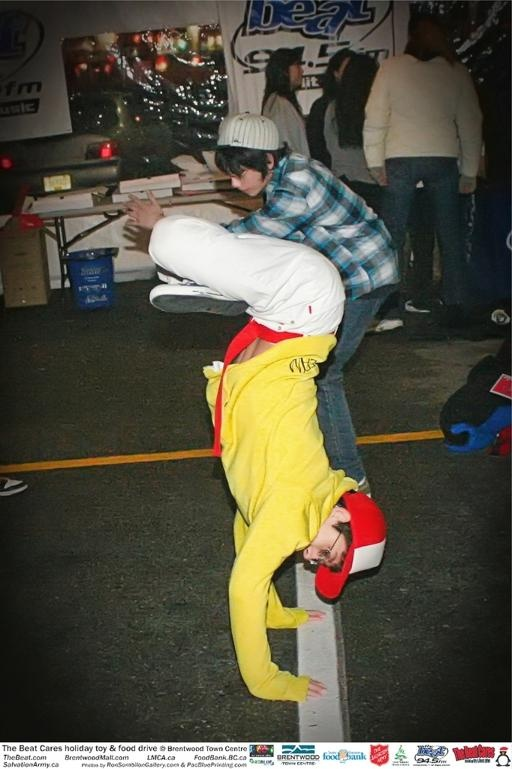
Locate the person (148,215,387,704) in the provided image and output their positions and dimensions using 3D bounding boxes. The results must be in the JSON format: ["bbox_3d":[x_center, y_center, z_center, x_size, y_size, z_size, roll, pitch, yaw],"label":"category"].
[{"bbox_3d":[0.059,0.266,1.835,0.545,1.487,0.580,-8,20,-8],"label":"person"}]

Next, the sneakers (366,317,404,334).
[{"bbox_3d":[1.083,-0.508,5.400,0.389,0.112,0.176,-6,2,-6],"label":"sneakers"}]

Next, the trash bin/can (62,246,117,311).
[{"bbox_3d":[-1.678,-1.077,6.350,0.625,0.569,0.601,-2,14,-1],"label":"trash bin/can"}]

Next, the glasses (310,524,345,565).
[{"bbox_3d":[0.210,0.459,1.730,0.125,0.057,0.096,-47,1,-24],"label":"glasses"}]

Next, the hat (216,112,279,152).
[{"bbox_3d":[-0.027,-0.890,2.213,0.190,0.076,0.140,16,23,21],"label":"hat"}]
